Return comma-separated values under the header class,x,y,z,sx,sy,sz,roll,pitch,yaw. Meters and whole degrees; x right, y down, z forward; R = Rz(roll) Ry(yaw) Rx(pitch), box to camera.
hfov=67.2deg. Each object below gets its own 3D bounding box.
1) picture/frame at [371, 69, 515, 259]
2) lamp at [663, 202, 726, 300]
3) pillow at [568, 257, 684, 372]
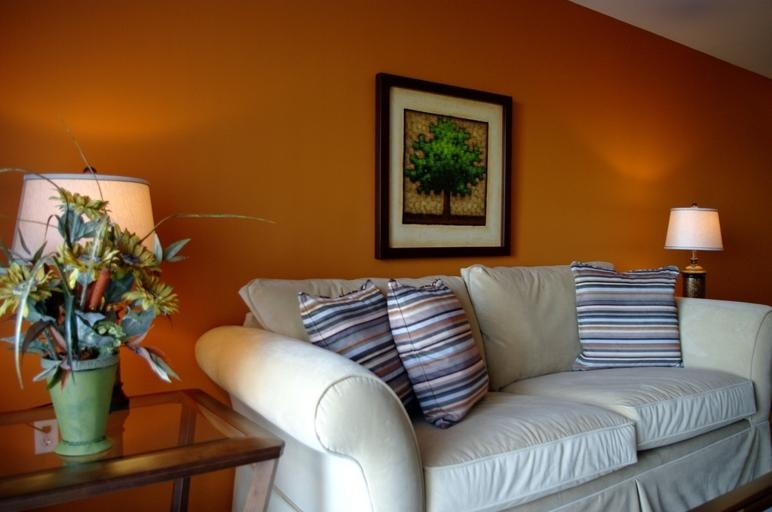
class,x,y,z,sx,sy,sz,roll,pitch,yaw
picture/frame,0.316,-0.568,3.570,1.269,1.251,0.089,0,2,-31
lamp,2.296,0.039,4.348,0.397,0.814,0.371,0,-4,22
pillow,1.329,0.359,3.250,0.571,0.532,0.200,2,-18,-2
